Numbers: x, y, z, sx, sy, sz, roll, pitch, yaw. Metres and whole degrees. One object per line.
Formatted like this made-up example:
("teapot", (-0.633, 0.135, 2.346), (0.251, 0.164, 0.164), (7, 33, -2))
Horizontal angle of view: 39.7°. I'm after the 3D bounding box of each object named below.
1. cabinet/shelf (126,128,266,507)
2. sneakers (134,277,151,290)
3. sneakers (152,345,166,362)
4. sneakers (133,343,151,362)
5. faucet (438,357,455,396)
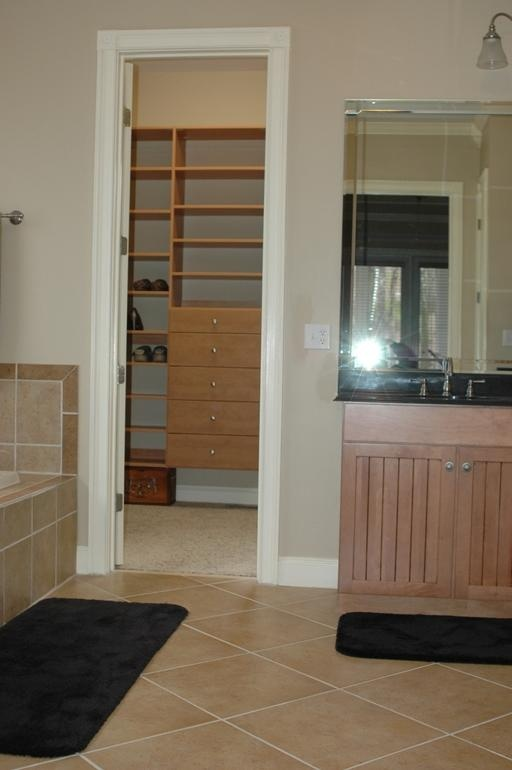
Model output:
("cabinet/shelf", (-0.473, -0.452, 4.718), (1.054, 2.437, 0.329), (2, 5, 10))
("sneakers", (-0.762, -0.671, 4.753), (0.124, 0.078, 0.060), (1, 0, -5))
("sneakers", (-0.649, -0.207, 4.765), (0.092, 0.115, 0.114), (1, 0, -12))
("sneakers", (-0.770, -0.218, 4.819), (0.093, 0.083, 0.129), (2, -3, -3))
("faucet", (0.770, -0.032, 2.875), (0.050, 0.141, 0.142), (1, 0, 15))
